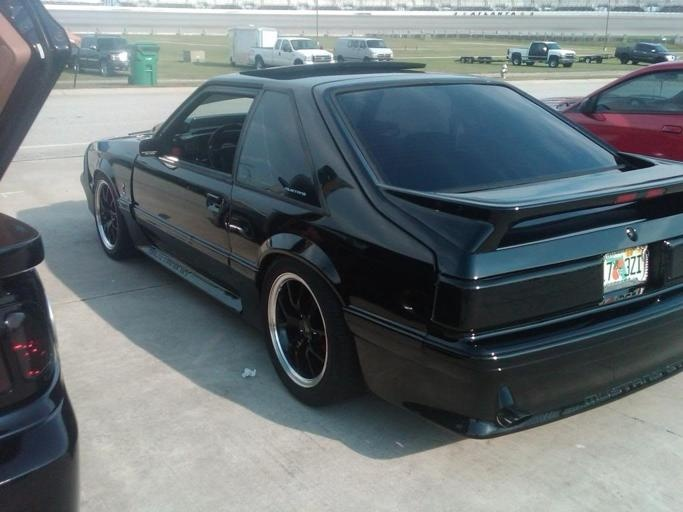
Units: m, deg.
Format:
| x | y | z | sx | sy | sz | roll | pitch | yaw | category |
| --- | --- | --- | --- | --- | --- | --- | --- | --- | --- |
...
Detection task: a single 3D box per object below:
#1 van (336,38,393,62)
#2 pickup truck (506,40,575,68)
| x | y | z | sx | sy | sz | roll | pitch | yaw | category |
| --- | --- | --- | --- | --- | --- | --- | --- | --- | --- |
| 1.513 | -15.043 | 39.636 | 3.904 | 1.677 | 5.830 | -3 | 22 | -4 | van |
| 17.714 | -16.293 | 44.182 | 3.119 | 1.879 | 5.216 | -22 | 31 | -36 | pickup truck |
